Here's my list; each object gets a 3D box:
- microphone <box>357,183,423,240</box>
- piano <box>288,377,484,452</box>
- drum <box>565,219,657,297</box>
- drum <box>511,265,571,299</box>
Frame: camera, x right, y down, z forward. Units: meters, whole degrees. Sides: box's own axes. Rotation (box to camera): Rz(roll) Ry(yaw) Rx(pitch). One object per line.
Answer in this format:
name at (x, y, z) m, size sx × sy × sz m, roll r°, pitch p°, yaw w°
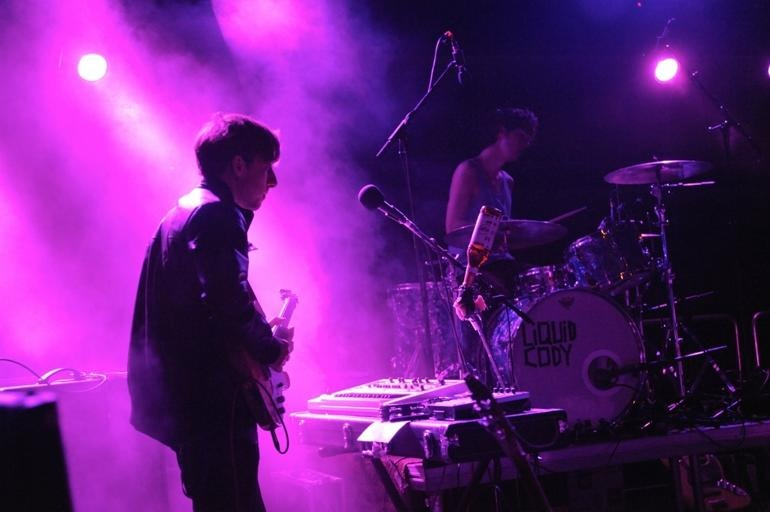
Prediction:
microphone at (0.018, -0.441, 7.239) m, size 0.807 × 0.239 × 0.235 m, roll 35°, pitch -48°, yaw -7°
piano at (-0.090, 1.154, 5.317) m, size 1.277 × 0.528 × 0.545 m, roll -16°, pitch -24°, yaw 28°
drum at (1.990, -0.181, 6.625) m, size 0.774 × 0.806 × 0.555 m, roll -4°, pitch -24°, yaw 23°
drum at (1.426, 0.257, 6.534) m, size 0.504 × 0.325 × 0.512 m, roll -2°, pitch -6°, yaw 0°
